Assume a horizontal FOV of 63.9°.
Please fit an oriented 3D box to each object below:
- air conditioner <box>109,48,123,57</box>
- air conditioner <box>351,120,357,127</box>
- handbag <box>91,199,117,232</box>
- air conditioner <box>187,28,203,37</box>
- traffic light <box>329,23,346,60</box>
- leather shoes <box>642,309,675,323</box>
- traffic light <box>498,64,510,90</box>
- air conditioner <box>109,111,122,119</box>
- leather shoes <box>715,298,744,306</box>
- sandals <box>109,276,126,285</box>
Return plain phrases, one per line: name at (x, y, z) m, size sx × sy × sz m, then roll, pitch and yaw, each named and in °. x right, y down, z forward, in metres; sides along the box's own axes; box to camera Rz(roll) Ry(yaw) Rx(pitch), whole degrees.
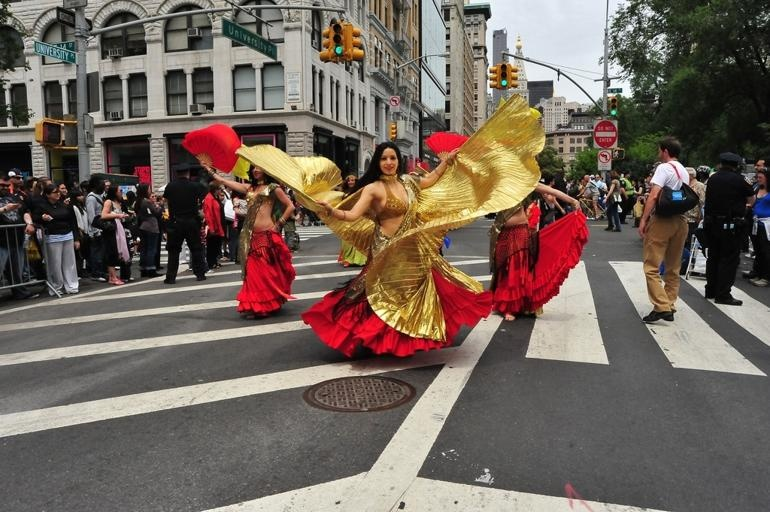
air conditioner at (-15.155, -11.630, 34.988) m, size 0.517 × 0.321 × 0.523 m, roll 0°, pitch 10°, yaw -3°
air conditioner at (-2.082, -9.068, 41.779) m, size 0.393 × 0.446 × 0.399 m, roll 0°, pitch 13°, yaw 4°
handbag at (-6.147, -0.885, 13.483) m, size 0.492 × 0.673 × 0.340 m, roll 17°, pitch -10°, yaw 25°
air conditioner at (-10.439, -12.413, 33.848) m, size 0.633 × 0.528 × 0.660 m, roll -1°, pitch 8°, yaw 0°
traffic light at (-1.349, -6.262, 17.676) m, size 0.366 × 1.066 × 0.466 m, roll -2°, pitch 7°, yaw -6°
leather shoes at (3.984, 0.884, 9.069) m, size 0.501 × 0.219 × 0.185 m, roll -1°, pitch 3°, yaw 30°
traffic light at (4.243, -6.498, 21.941) m, size 0.293 × 0.852 × 0.531 m, roll 0°, pitch 8°, yaw 10°
air conditioner at (-15.383, -8.110, 35.202) m, size 0.776 × 0.416 × 0.650 m, roll -2°, pitch 14°, yaw 14°
leather shoes at (5.658, 0.733, 10.136) m, size 0.404 × 0.177 × 0.152 m, roll 0°, pitch 1°, yaw 13°
sandals at (-5.723, 0.522, 13.220) m, size 0.158 × 0.151 × 0.402 m, roll -6°, pitch 5°, yaw -44°
